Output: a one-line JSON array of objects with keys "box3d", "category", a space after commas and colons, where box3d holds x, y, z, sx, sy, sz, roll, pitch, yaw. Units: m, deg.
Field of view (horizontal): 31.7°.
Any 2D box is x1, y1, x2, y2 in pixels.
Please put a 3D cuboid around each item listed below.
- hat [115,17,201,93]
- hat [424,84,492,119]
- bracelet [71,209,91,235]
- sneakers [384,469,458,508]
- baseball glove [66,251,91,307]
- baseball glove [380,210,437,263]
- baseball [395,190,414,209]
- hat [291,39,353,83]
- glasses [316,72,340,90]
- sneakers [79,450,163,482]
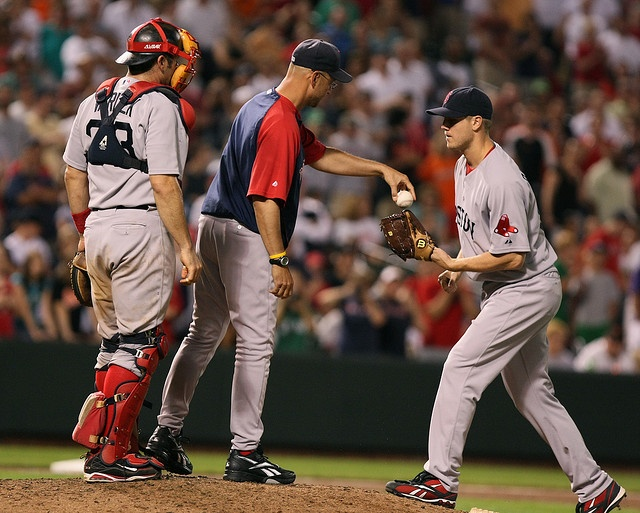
[{"box3d": [-1.283, -1.570, 8.934, 0.674, 0.598, 0.529, -14, 28, -35], "category": "hat"}, {"box3d": [1.159, -1.251, 9.119, 0.394, 0.212, 0.258, 5, 6, -2], "category": "hat"}, {"box3d": [-1.929, -0.275, 8.993, 0.196, 0.180, 0.155, -6, 8, 11], "category": "bracelet"}, {"box3d": [0.807, 1.836, 8.957, 0.617, 0.298, 0.224, 14, -12, 7], "category": "sneakers"}, {"box3d": [-1.927, 0.254, 9.164, 0.147, 0.246, 0.461, -3, -27, -4], "category": "baseball glove"}, {"box3d": [0.639, -0.204, 9.177, 0.573, 0.176, 0.452, 23, -6, -20], "category": "baseball glove"}, {"box3d": [0.712, -0.462, 9.385, 0.144, 0.142, 0.142, -14, 43, -31], "category": "baseball"}, {"box3d": [0.025, -1.593, 9.083, 0.493, 0.272, 0.327, 12, 7, -23], "category": "hat"}, {"box3d": [0.050, -1.409, 9.029, 0.175, 0.053, 0.171, 53, 14, 20], "category": "glasses"}, {"box3d": [-1.533, 1.613, 8.735, 0.555, 0.251, 0.235, -1, -7, -6], "category": "sneakers"}]
